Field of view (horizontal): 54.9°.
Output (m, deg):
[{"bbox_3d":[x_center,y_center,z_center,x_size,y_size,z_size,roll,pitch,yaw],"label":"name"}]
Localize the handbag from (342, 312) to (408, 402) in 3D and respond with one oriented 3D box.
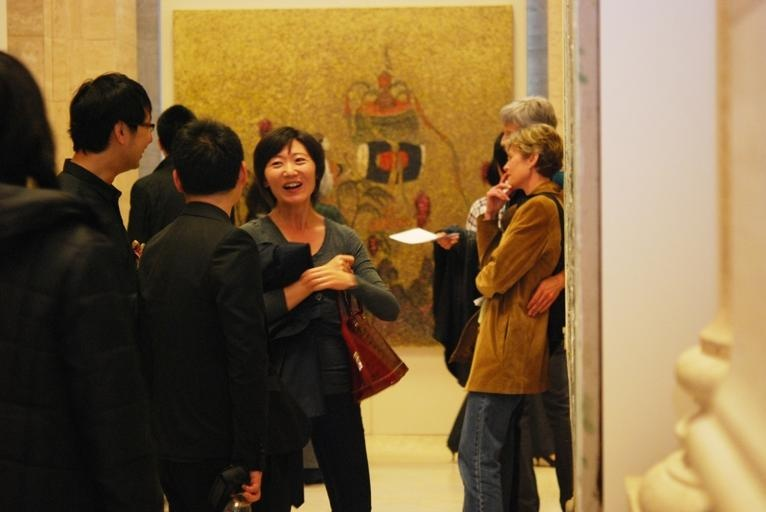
[{"bbox_3d":[-0.038,0.379,2.799,0.228,0.316,0.176,0,10,6],"label":"handbag"}]
